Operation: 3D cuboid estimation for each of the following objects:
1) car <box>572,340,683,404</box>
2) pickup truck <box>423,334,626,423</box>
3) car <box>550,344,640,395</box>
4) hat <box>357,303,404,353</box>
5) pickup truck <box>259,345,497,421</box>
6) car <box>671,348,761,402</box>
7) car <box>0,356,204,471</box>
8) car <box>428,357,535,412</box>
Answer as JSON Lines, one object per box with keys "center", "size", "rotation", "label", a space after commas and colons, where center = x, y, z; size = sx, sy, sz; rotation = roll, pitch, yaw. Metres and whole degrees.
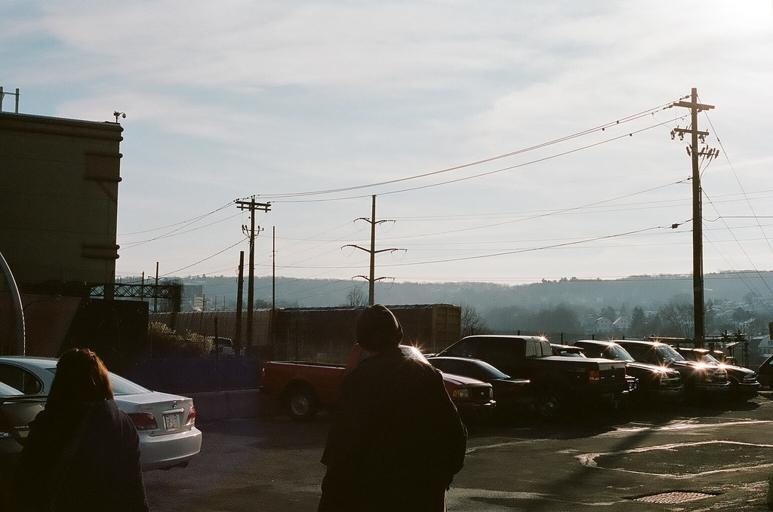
{"center": [6.746, 3.218, 24.984], "size": [3.048, 0.984, 1.379], "rotation": [-2, -4, 41], "label": "car"}
{"center": [3.786, 3.094, 22.835], "size": [4.169, 1.328, 2.286], "rotation": [2, -4, 30], "label": "pickup truck"}
{"center": [5.838, 3.083, 24.548], "size": [2.343, 0.708, 1.071], "rotation": [-1, -2, 24], "label": "car"}
{"center": [-0.089, 0.832, 9.936], "size": [0.476, 0.482, 0.590], "rotation": [-3, -12, -5], "label": "hat"}
{"center": [-0.290, 3.171, 21.285], "size": [5.563, 1.698, 2.610], "rotation": [-2, -6, 26], "label": "pickup truck"}
{"center": [10.182, 3.811, 28.326], "size": [3.381, 1.105, 1.546], "rotation": [-2, -4, 33], "label": "car"}
{"center": [-5.114, 2.504, 14.617], "size": [3.803, 1.129, 1.677], "rotation": [6, 0, 25], "label": "car"}
{"center": [2.418, 3.181, 22.012], "size": [2.595, 0.784, 1.169], "rotation": [1, -2, 36], "label": "car"}
